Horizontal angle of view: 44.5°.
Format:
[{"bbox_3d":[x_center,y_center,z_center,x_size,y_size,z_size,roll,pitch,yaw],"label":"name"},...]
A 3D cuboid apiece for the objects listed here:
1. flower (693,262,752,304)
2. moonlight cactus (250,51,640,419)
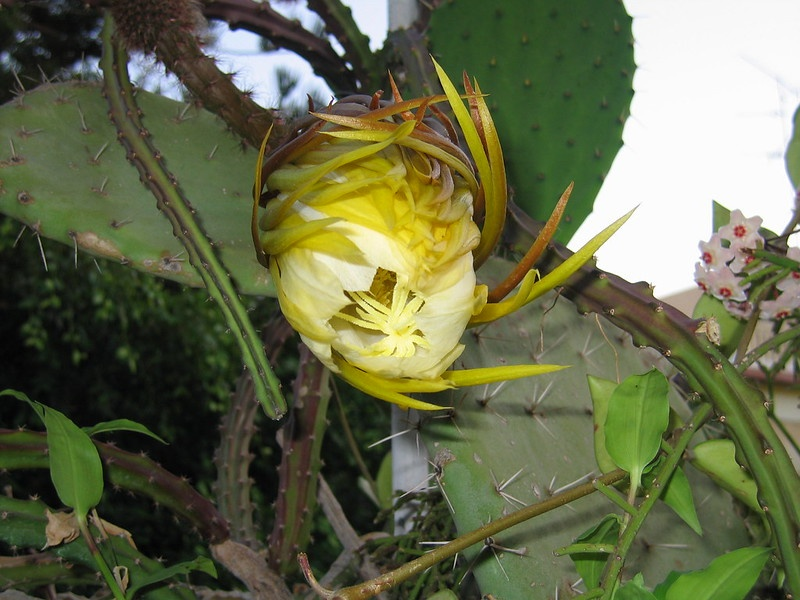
[{"bbox_3d":[0.346,-0.024,1.039,0.049,0.013,0.049,41,-37,10],"label":"flower"},{"bbox_3d":[0.011,-0.050,0.820,0.291,0.241,0.158,30,-26,-14],"label":"moonlight cactus"}]
